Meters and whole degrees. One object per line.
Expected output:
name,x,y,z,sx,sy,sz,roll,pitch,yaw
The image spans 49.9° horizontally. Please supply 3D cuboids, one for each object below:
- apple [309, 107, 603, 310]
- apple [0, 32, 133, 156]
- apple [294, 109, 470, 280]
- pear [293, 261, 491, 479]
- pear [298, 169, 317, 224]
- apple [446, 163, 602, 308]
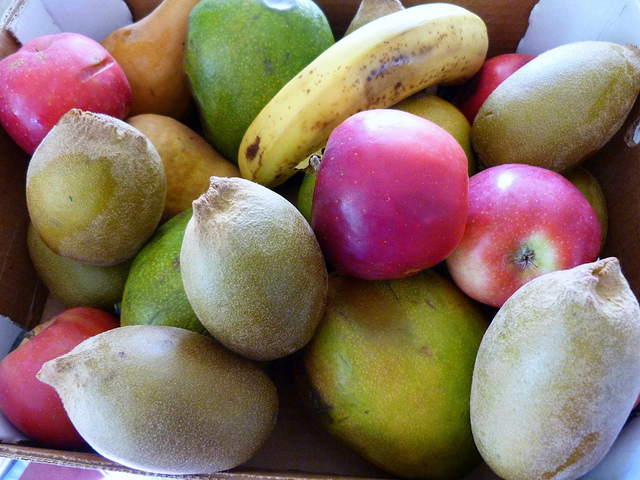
apple,0.210,-0.024,1.150,0.420,0.220,0.266,12,35,-10
apple,-0.452,-0.256,1.302,0.183,0.207,0.209,-3,38,5
apple,0.104,-0.075,1.059,0.238,0.144,0.228,1,64,11
pear,0.114,0.212,1.146,0.316,0.186,0.320,4,65,12
pear,-0.025,-0.078,1.239,0.039,0.056,0.080,7,73,2
apple,0.321,-0.030,1.173,0.253,0.231,0.223,-6,30,-35
